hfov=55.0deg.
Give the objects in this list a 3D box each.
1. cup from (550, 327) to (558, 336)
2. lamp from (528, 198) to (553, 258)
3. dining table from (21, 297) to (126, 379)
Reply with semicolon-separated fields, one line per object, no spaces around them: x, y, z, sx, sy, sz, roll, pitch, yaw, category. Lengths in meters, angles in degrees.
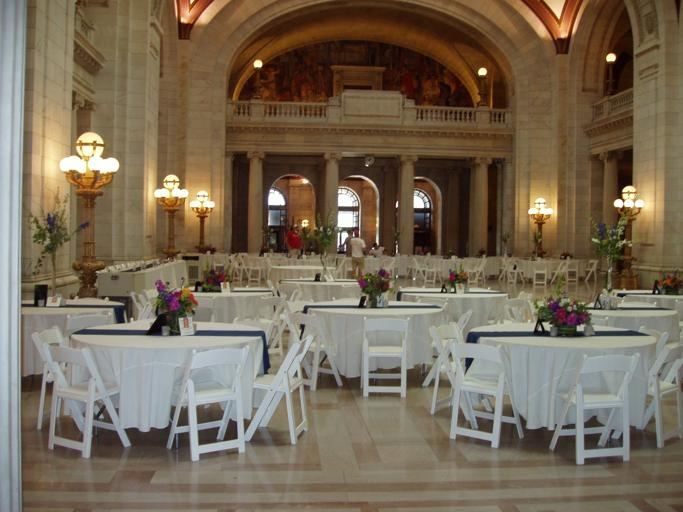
2.570;0.910;7.945;0.082;0.109;0.089;2;-1;0;cup
7.723;-1.164;25.506;0.874;2.299;1.977;5;13;18;lamp
-3.992;0.979;9.431;1.130;0.707;1.230;0;-1;-2;dining table
